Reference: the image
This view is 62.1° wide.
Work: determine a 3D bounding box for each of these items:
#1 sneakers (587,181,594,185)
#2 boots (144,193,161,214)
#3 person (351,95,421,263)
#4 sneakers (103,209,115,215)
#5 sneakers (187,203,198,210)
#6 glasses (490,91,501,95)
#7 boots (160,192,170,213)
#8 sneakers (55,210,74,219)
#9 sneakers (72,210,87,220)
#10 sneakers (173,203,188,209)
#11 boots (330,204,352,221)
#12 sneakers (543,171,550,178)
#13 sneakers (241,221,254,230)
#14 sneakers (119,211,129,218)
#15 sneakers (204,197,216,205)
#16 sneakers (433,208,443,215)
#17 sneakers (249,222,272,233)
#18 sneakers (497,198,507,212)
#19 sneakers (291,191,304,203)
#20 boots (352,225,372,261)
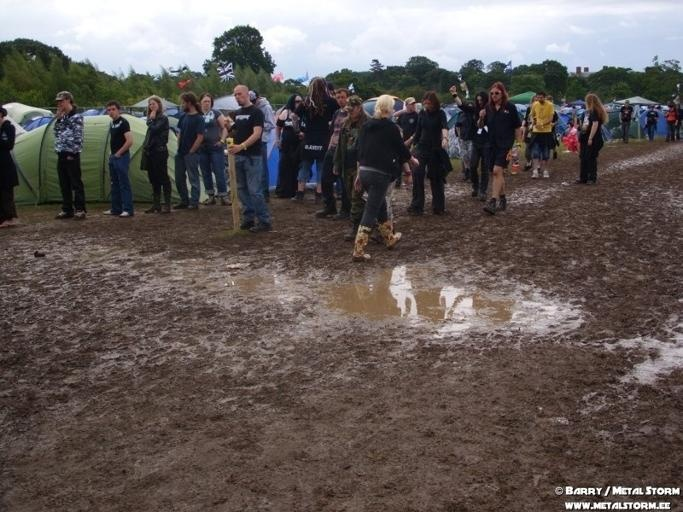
[{"bbox_3d":[5.958,-1.747,13.634,0.101,0.061,0.145,4,12,28],"label":"sneakers"},{"bbox_3d":[-3.798,-1.075,11.426,0.311,0.411,0.519,-7,13,-18],"label":"boots"},{"bbox_3d":[0.486,-1.111,7.881,1.082,2.162,0.896,-7,14,-19],"label":"person"},{"bbox_3d":[-4.606,-0.868,11.268,0.202,0.090,0.436,-8,13,-25],"label":"sneakers"},{"bbox_3d":[-3.034,-1.012,11.697,0.182,0.110,0.180,-5,13,-11],"label":"sneakers"},{"bbox_3d":[2.678,-2.823,9.877,0.170,0.070,0.149,3,13,24],"label":"glasses"},{"bbox_3d":[-3.509,-1.071,11.353,0.193,0.412,0.452,-6,13,-15],"label":"boots"},{"bbox_3d":[-5.291,-0.773,10.905,0.357,0.149,0.120,2,5,-13],"label":"sneakers"},{"bbox_3d":[-4.962,-0.774,10.808,0.224,0.145,0.282,-8,13,-24],"label":"sneakers"},{"bbox_3d":[-3.324,-1.025,11.733,0.365,0.139,0.129,3,9,18],"label":"sneakers"},{"bbox_3d":[-0.030,-0.836,10.270,0.302,0.328,0.823,-4,12,-8],"label":"boots"},{"bbox_3d":[5.483,-2.214,15.229,0.112,0.136,0.315,1,36,19],"label":"sneakers"},{"bbox_3d":[-1.550,-0.488,9.411,0.251,0.125,0.180,-6,-17,-4],"label":"sneakers"},{"bbox_3d":[-4.197,-0.798,10.954,0.271,0.099,0.155,5,14,30],"label":"sneakers"},{"bbox_3d":[-2.854,-1.190,12.400,0.326,0.195,0.111,4,8,5],"label":"sneakers"},{"bbox_3d":[1.774,-0.812,10.491,0.141,0.090,0.129,-2,4,-20],"label":"sneakers"},{"bbox_3d":[-1.305,-0.461,9.276,0.387,0.143,0.132,1,3,-9],"label":"sneakers"},{"bbox_3d":[2.902,-0.945,10.316,0.141,0.235,0.312,1,13,15],"label":"sneakers"},{"bbox_3d":[-0.974,-1.321,12.566,0.252,0.234,0.377,-3,12,-3],"label":"sneakers"},{"bbox_3d":[0.265,-0.176,7.629,0.248,0.460,0.239,-2,13,3],"label":"boots"}]
